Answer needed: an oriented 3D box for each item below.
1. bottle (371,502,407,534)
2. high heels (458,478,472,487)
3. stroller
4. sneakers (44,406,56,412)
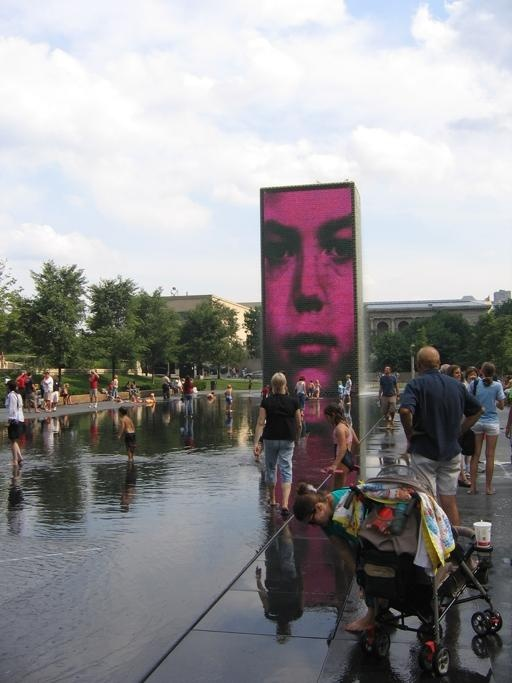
[{"bbox_3d":[0.781,1.134,4.332,0.199,0.188,0.073,8,-3,36],"label":"bottle"},{"bbox_3d":[2.857,2.168,10.223,0.105,0.103,0.277,0,-8,3],"label":"high heels"},{"bbox_3d":[0.999,1.456,4.612,0.622,1.213,1.031,-3,-3,38],"label":"stroller"},{"bbox_3d":[-9.143,3.601,33.199,0.241,0.275,0.683,-1,-12,-4],"label":"sneakers"}]
